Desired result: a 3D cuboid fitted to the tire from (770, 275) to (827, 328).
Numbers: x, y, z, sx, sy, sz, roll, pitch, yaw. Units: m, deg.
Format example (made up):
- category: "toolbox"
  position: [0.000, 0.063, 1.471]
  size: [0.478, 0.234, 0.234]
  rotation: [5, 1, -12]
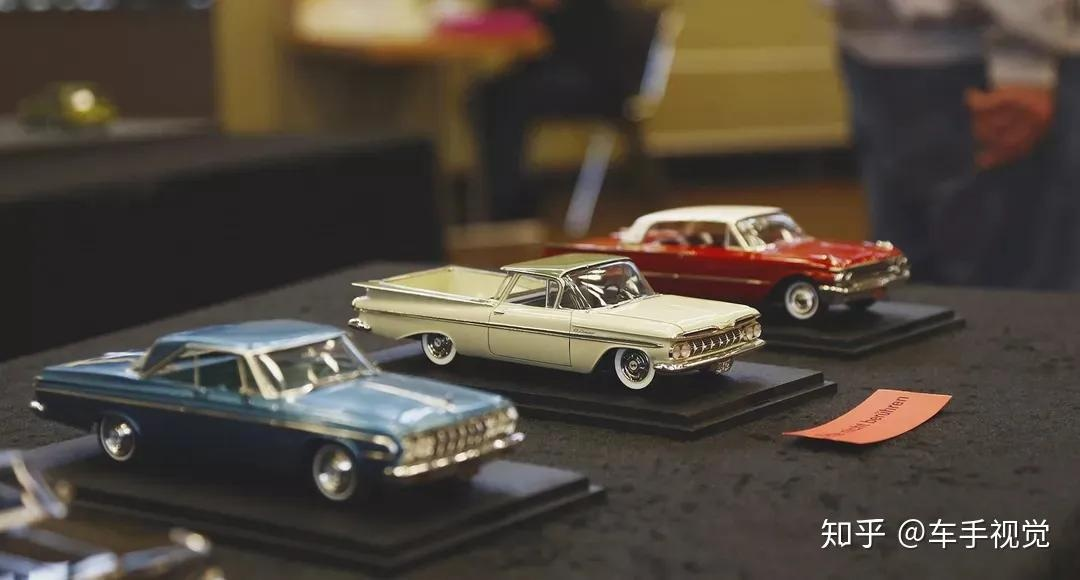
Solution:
- category: "tire"
  position: [3.458, 0.137, 12.179]
  size: [0.710, 0.696, 0.265]
  rotation: [-8, 1, -6]
